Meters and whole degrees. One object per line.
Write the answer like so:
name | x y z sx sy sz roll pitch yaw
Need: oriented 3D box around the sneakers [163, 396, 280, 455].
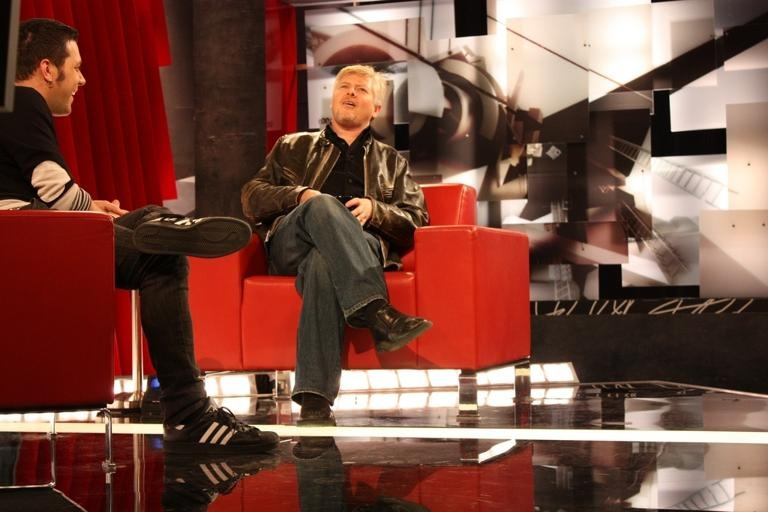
sneakers | -0.526 0.566 2.420 0.443 0.180 0.141 2 -3 -10

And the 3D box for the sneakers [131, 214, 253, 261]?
sneakers | -0.576 -0.075 2.314 0.401 0.130 0.170 2 12 1

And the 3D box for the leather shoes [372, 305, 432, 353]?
leather shoes | 0.036 0.260 2.660 0.116 0.103 0.242 -22 4 -43
